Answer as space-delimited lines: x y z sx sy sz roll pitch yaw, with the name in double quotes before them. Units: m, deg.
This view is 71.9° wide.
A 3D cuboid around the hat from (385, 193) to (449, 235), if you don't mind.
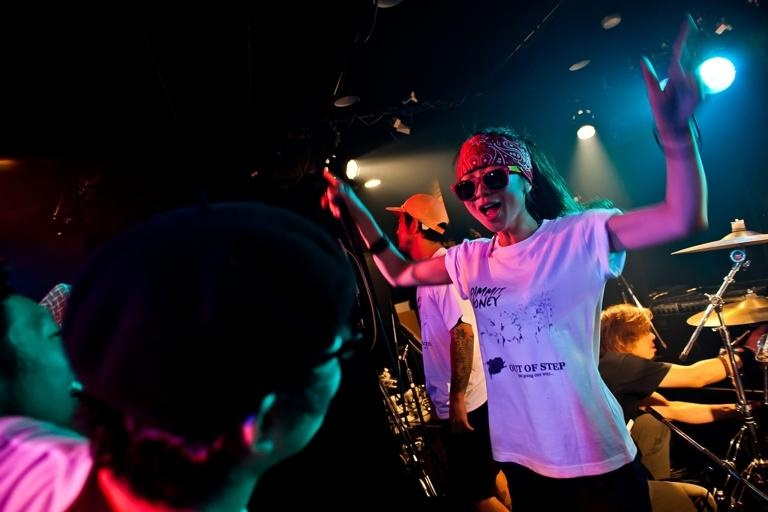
"hat" 0.398 -0.485 5.925 0.603 0.350 0.430 26 4 8
